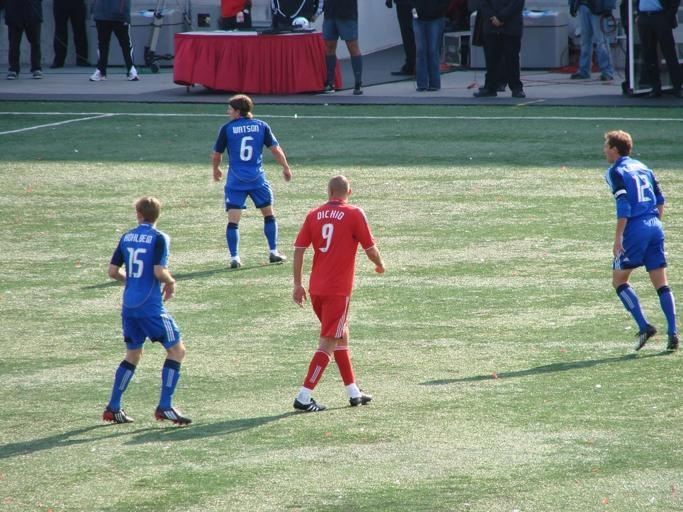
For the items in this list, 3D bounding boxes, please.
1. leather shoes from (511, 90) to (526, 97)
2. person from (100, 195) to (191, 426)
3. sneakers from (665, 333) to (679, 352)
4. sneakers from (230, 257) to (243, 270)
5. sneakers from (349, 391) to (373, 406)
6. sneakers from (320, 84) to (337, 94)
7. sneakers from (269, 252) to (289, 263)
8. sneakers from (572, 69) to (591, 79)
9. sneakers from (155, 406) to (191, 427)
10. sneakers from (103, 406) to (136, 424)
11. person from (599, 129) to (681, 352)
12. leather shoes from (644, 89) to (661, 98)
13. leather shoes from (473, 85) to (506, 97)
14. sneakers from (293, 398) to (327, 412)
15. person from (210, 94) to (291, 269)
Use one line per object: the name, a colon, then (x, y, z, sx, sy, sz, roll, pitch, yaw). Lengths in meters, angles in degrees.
leather shoes: (3.207, -2.962, 33.516, 0.235, 0.149, 0.351, -1, 6, 4)
person: (-2.053, 0.571, 19.087, 0.868, 2.348, 0.449, -2, 6, -6)
sneakers: (3.615, 0.952, 20.206, 0.189, 0.196, 0.134, 7, 11, 38)
sneakers: (-1.296, 0.073, 22.722, 0.118, 0.140, 0.200, 3, 7, 36)
sneakers: (0.198, 1.480, 19.387, 0.278, 0.131, 0.096, -15, 20, -27)
sneakers: (-0.277, -3.186, 34.925, 0.203, 0.193, 0.517, -1, -2, 4)
sneakers: (-0.797, 0.030, 22.935, 0.245, 0.099, 0.091, 1, 7, -11)
sneakers: (4.761, -3.631, 36.766, 0.435, 0.155, 0.156, 4, -1, -42)
sneakers: (-1.775, 1.648, 19.114, 0.446, 0.207, 0.153, 10, 11, -13)
sneakers: (-2.326, 1.652, 19.132, 0.374, 0.169, 0.127, 6, 10, -20)
person: (3.293, -0.162, 20.250, 0.775, 2.413, 0.534, -1, 6, 9)
leather shoes: (5.625, -2.948, 33.397, 0.185, 0.139, 0.284, 0, -3, 7)
leather shoes: (2.666, -3.047, 34.110, 0.731, 0.274, 0.235, 1, 11, -2)
sneakers: (-0.352, 1.564, 19.341, 0.397, 0.149, 0.123, 2, 7, -18)
person: (-1.133, -0.941, 22.909, 0.899, 2.115, 0.648, -3, 6, -10)
